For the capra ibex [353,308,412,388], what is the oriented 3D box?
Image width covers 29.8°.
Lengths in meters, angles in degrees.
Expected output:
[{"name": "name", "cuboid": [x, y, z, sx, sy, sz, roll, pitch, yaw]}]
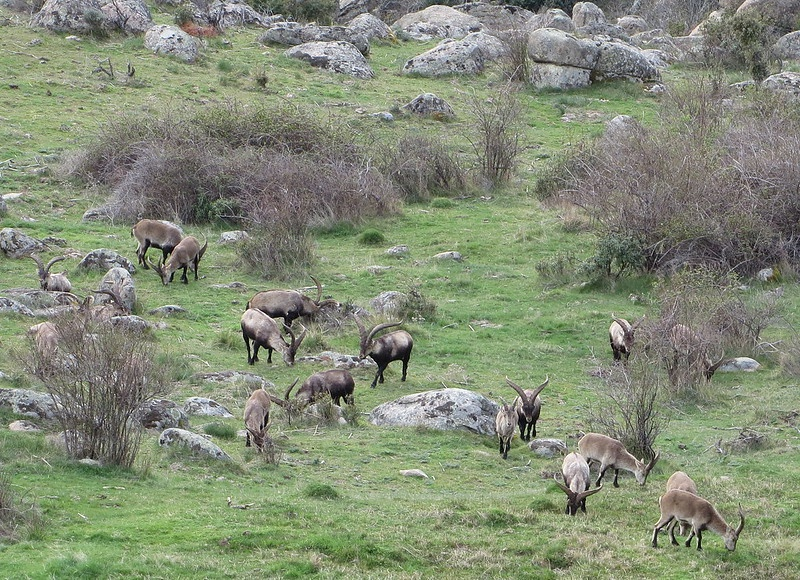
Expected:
[{"name": "capra ibex", "cuboid": [-0.344, 1.388, 35.141, 1.554, 1.850, 1.018, -7, 5, -39]}]

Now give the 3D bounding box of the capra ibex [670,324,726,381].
[{"name": "capra ibex", "cuboid": [6.897, 1.406, 34.846, 1.246, 1.218, 0.706, 0, 4, -25]}]

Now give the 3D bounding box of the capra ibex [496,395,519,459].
[{"name": "capra ibex", "cuboid": [2.296, 2.958, 32.643, 0.460, 1.253, 0.664, 2, 4, 4]}]
